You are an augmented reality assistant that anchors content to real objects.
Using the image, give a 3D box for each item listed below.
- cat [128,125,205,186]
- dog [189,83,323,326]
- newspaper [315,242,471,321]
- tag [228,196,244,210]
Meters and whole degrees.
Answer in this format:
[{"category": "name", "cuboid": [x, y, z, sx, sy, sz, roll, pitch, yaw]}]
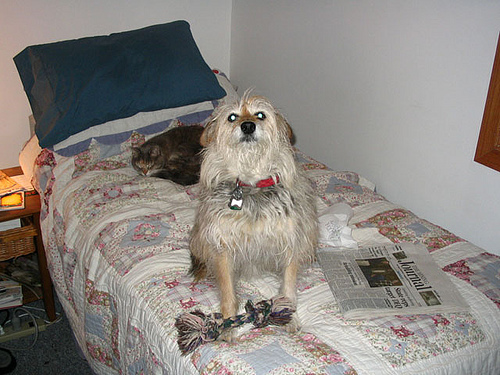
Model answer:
[{"category": "cat", "cuboid": [-0.517, -0.231, 2.665, 0.384, 0.190, 0.529, 31, 47, 27]}, {"category": "dog", "cuboid": [0.008, 0.052, 1.769, 0.624, 0.868, 0.705, 4, 25, 11]}, {"category": "newspaper", "cuboid": [0.656, 0.434, 1.854, 0.584, 0.081, 0.466, -3, 23, -6]}, {"category": "tag", "cuboid": [-0.063, 0.070, 1.726, 0.072, 0.053, 0.040, -3, 24, -4]}]
